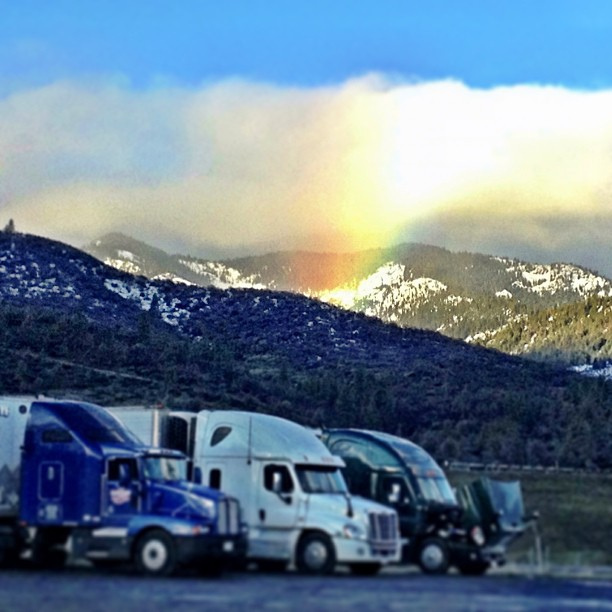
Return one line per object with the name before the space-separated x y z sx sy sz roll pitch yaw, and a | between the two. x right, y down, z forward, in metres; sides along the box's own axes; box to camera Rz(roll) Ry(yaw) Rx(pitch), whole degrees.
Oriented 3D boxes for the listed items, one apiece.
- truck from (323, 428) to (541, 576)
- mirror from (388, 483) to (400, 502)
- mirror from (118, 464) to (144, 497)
truck | 3.811 4.987 39.261 6.609 4.085 2.329 -4 -3 28
mirror | 2.292 4.657 38.511 0.304 0.715 0.346 0 -10 6
mirror | -3.814 3.711 32.889 0.391 0.708 0.184 1 -7 3
